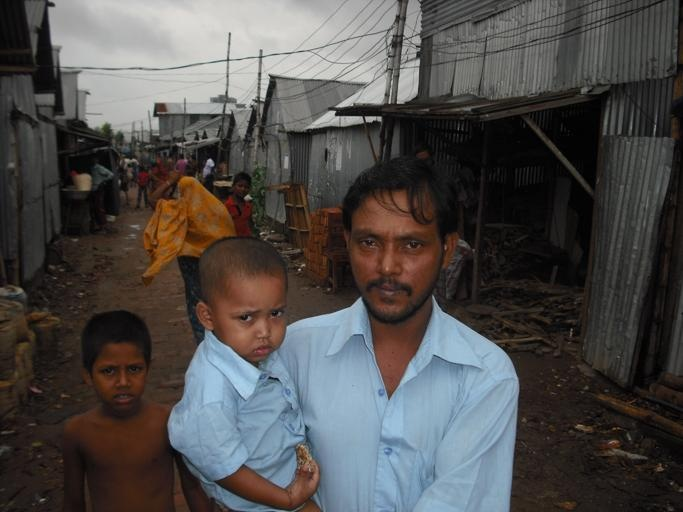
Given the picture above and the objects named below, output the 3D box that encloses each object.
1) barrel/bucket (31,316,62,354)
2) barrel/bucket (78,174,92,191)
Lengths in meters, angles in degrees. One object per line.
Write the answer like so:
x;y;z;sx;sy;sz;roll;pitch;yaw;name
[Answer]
-3.634;0.960;7.135;0.343;0.394;0.377;4;18;-1;barrel/bucket
-7.057;-2.011;15.711;0.398;0.439;0.675;-2;10;-26;barrel/bucket
